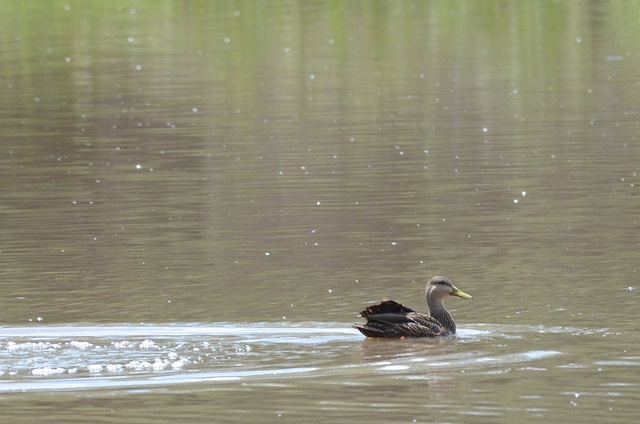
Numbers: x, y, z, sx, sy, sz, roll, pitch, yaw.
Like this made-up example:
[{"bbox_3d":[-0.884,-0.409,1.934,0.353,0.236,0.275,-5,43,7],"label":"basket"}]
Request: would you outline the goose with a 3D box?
[{"bbox_3d":[1.220,1.281,12.128,1.391,0.638,0.605,-28,25,-33],"label":"goose"}]
